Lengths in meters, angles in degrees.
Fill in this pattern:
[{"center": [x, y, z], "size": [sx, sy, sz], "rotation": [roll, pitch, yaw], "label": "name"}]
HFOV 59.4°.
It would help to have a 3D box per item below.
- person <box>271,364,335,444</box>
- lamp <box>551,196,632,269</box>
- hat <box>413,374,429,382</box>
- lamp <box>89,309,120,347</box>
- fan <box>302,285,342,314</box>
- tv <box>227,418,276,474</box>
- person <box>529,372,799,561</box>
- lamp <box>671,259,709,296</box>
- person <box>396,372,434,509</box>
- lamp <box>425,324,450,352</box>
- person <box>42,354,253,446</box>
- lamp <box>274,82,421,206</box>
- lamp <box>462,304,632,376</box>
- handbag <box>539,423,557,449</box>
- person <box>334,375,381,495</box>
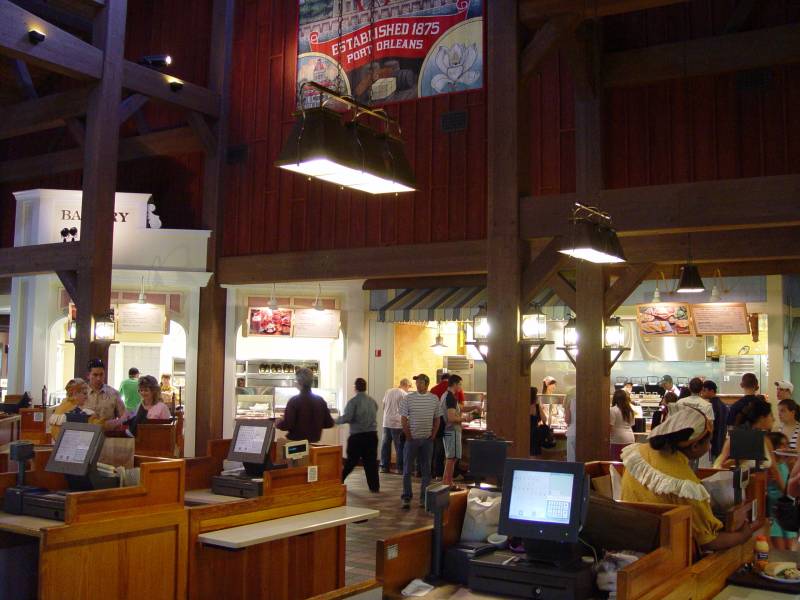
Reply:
[{"center": [-1.196, 1.348, 9.098], "size": [0.680, 0.942, 0.422], "rotation": [3, -7, -18], "label": "person"}, {"center": [1.842, -0.643, 6.681], "size": [0.282, 0.455, 0.829], "rotation": [-4, -7, 39], "label": "lamp"}, {"center": [0.298, 1.067, 9.696], "size": [0.190, 0.103, 0.142], "rotation": [22, -10, -1], "label": "hat"}, {"center": [-4.433, 0.403, 10.569], "size": [0.156, 0.563, 0.397], "rotation": [-3, -8, 29], "label": "lamp"}, {"center": [-1.448, -0.020, 13.521], "size": [0.527, 0.359, 0.537], "rotation": [1, -1, -30], "label": "fan"}, {"center": [-1.241, 1.238, 5.907], "size": [0.391, 0.507, 0.254], "rotation": [4, -28, 19], "label": "tv"}, {"center": [2.119, 1.200, 4.964], "size": [0.653, 0.930, 1.814], "rotation": [-5, -9, 37], "label": "person"}, {"center": [4.400, -0.366, 10.686], "size": [0.434, 0.530, 0.439], "rotation": [0, 3, 28], "label": "lamp"}, {"center": [0.293, 1.926, 9.747], "size": [0.507, 1.794, 0.580], "rotation": [0, -7, 3], "label": "person"}, {"center": [0.831, 0.836, 15.117], "size": [0.518, 0.812, 0.539], "rotation": [1, 1, 34], "label": "lamp"}, {"center": [-3.125, 1.124, 7.601], "size": [1.776, 1.144, 0.931], "rotation": [-4, -3, 39], "label": "person"}, {"center": [-0.370, -1.309, 5.818], "size": [0.473, 0.714, 1.248], "rotation": [0, -3, 34], "label": "lamp"}, {"center": [1.812, 0.498, 9.046], "size": [1.892, 0.860, 1.027], "rotation": [2, -8, -13], "label": "lamp"}, {"center": [2.319, 2.120, 11.014], "size": [0.286, 0.417, 0.145], "rotation": [4, -6, -23], "label": "handbag"}, {"center": [-0.609, 2.006, 10.382], "size": [0.556, 1.701, 0.927], "rotation": [0, -7, 5], "label": "person"}]
